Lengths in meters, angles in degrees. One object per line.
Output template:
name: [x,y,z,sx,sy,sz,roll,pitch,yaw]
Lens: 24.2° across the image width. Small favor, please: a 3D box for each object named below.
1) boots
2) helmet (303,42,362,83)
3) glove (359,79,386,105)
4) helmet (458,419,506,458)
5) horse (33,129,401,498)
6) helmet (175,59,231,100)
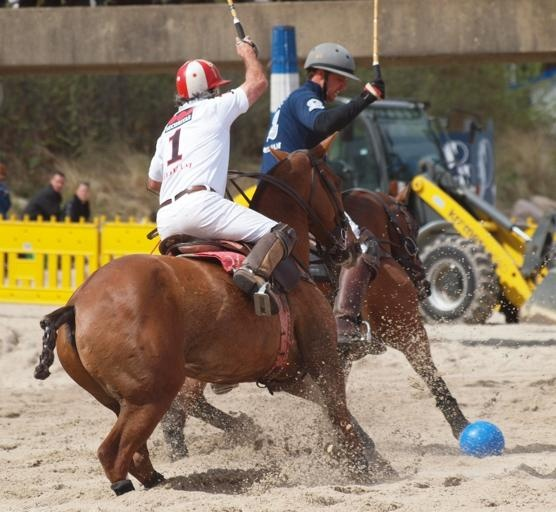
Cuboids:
boots: [0.559,0.347,9.225,0.483,0.982,0.206,1,2,-30]
helmet: [0.360,-1.344,9.076,0.305,0.186,0.252,4,5,7]
glove: [0.647,-1.112,8.814,0.122,0.183,0.174,1,11,-20]
helmet: [1.407,1.255,8.931,0.216,0.281,0.233,-11,-22,-1]
horse: [-0.115,0.690,8.854,2.667,0.656,1.753,-8,40,-21]
helmet: [-0.485,-1.129,8.407,0.288,0.181,0.224,-22,25,-15]
